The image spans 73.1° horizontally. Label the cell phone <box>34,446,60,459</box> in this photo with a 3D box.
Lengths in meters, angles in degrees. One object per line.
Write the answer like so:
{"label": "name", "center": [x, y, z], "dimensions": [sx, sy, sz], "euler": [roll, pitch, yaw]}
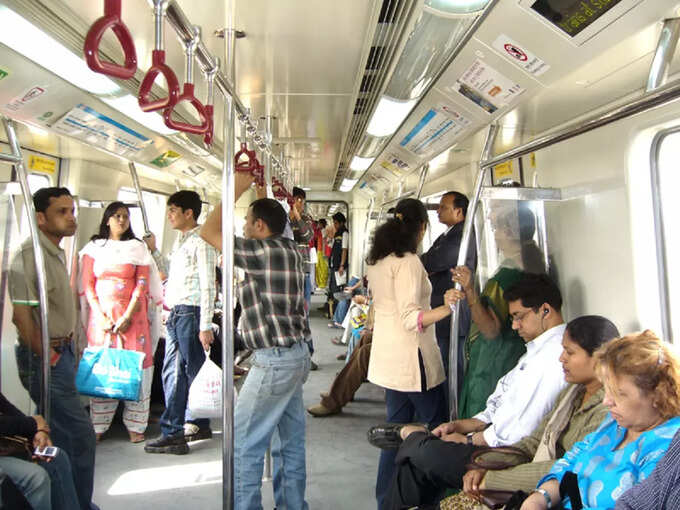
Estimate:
{"label": "cell phone", "center": [-1.625, 1.095, 2.556], "dimensions": [0.121, 0.065, 0.032], "euler": [-3, -30, 2]}

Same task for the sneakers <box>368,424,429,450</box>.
{"label": "sneakers", "center": [0.368, 1.212, 3.078], "dimensions": [0.422, 0.191, 0.191], "euler": [-6, -26, 13]}

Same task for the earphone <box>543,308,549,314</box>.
{"label": "earphone", "center": [1.207, 0.333, 2.710], "dimensions": [0.025, 0.034, 0.012], "euler": [7, 6, 7]}

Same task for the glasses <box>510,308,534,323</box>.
{"label": "glasses", "center": [1.090, 0.371, 2.768], "dimensions": [0.035, 0.081, 0.133], "euler": [4, -6, -39]}

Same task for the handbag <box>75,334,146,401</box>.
{"label": "handbag", "center": [-2.204, 1.102, 4.447], "dimensions": [0.672, 0.536, 0.237], "euler": [5, -11, 4]}

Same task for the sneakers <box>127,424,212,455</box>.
{"label": "sneakers", "center": [-1.630, 1.826, 4.546], "dimensions": [0.588, 0.266, 0.217], "euler": [4, -9, -11]}
